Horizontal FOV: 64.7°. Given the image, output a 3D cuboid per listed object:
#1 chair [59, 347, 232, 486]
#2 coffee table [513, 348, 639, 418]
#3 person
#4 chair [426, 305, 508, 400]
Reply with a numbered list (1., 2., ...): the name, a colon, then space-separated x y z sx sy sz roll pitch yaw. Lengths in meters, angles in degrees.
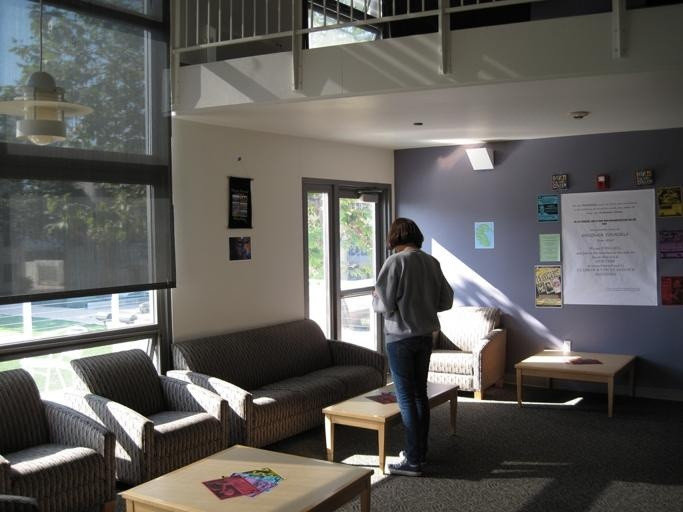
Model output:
1. chair: -1.575 1.274 4.448 1.040 0.948 1.029 0 2 33
2. coffee table: 2.673 1.420 6.129 1.173 0.499 1.062 1 4 29
3. person: 0.572 0.735 4.462 0.425 2.085 0.597 2 5 39
4. chair: 1.476 1.181 6.831 0.974 1.081 1.044 -2 -4 33
